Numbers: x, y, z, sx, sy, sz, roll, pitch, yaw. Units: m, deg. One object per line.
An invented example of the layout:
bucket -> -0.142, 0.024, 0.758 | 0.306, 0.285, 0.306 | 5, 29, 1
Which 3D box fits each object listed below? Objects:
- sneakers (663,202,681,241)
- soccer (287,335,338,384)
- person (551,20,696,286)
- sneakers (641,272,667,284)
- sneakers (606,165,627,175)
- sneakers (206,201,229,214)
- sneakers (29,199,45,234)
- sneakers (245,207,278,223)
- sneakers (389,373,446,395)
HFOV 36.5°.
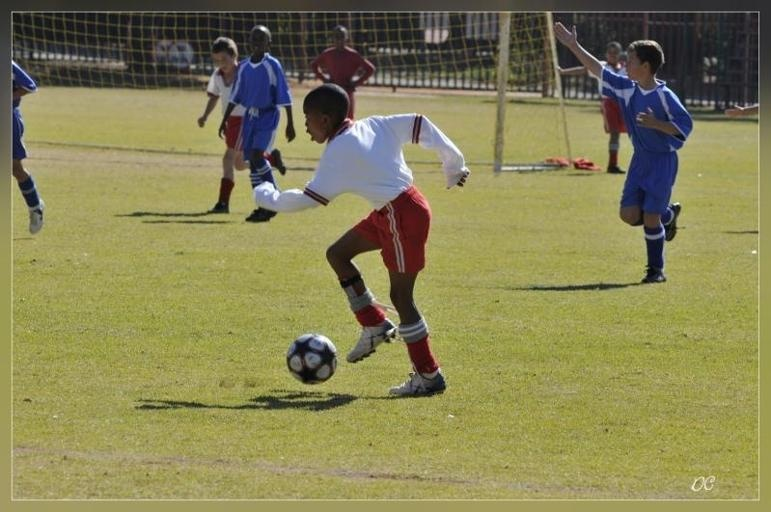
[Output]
sneakers -> 2.969, -0.331, 12.152 | 0.144, 0.407, 0.205 | 16, 4, 31
soccer -> -0.633, 0.882, 9.700 | 0.431, 0.384, 0.404 | 0, -12, -9
person -> 2.444, -0.891, 11.458 | 0.647, 2.365, 0.940 | -4, 8, -28
sneakers -> 2.665, 0.238, 11.596 | 0.296, 0.180, 0.096 | 1, 3, 14
sneakers -> 3.212, -1.161, 16.144 | 0.298, 0.112, 0.102 | 0, 10, -24
sneakers -> -1.919, -0.535, 13.552 | 0.276, 0.111, 0.101 | 7, 6, 34
sneakers -> -3.723, -0.410, 12.551 | 0.139, 0.366, 0.166 | -1, 0, -4
sneakers -> -1.390, -0.434, 13.367 | 0.505, 0.197, 0.159 | 1, 2, -8
sneakers -> 0.282, 1.082, 9.699 | 0.510, 0.195, 0.174 | 0, -1, 0
